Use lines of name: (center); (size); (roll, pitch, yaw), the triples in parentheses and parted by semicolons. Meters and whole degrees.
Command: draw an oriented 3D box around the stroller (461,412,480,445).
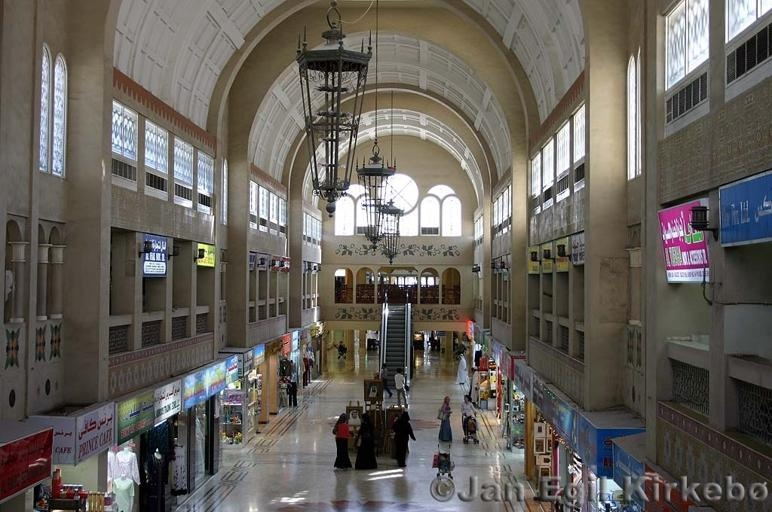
stroller: (3.102, 6.451, 19.584); (0.655, 1.282, 0.867); (1, 7, 0)

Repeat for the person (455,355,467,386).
person: (4.299, 6.549, 29.410); (0.480, 1.496, 0.991); (0, -5, 0)

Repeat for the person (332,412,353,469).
person: (-1.337, 5.860, 16.465); (0.497, 1.595, 0.760); (-1, -5, 15)

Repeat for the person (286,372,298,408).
person: (-4.457, 6.426, 25.055); (0.524, 1.413, 1.685); (1, -6, -11)

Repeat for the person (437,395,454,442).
person: (2.211, 6.068, 19.473); (0.499, 1.655, 1.098); (0, -5, 7)

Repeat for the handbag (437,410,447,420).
handbag: (2.161, 5.952, 19.384); (0.366, 0.369, 0.592); (-1, -8, 11)

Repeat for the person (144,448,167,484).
person: (-5.852, 5.419, 13.401); (0.498, 0.804, 0.435); (1, -5, -8)
